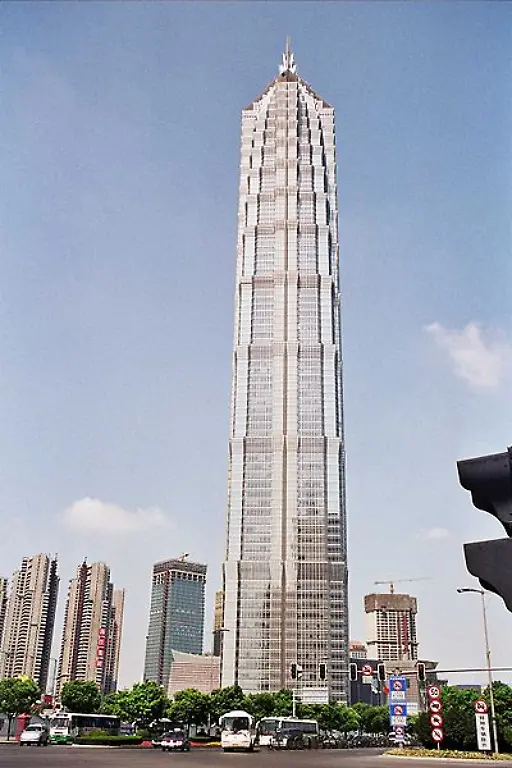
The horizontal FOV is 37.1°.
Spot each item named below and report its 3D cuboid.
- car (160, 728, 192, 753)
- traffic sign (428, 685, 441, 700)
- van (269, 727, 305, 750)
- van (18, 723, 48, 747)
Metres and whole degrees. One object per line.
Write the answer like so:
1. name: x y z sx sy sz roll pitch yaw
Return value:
1. car: -6.186 27.496 59.062 1.599 1.162 3.479 -3 -35 1
2. traffic sign: 11.926 20.503 50.758 0.636 0.980 2.540 -3 -26 9
3. van: 2.898 33.381 71.818 1.917 1.812 3.573 -18 -36 28
4. van: -17.815 28.038 60.966 1.682 1.560 3.266 -2 -38 -5
